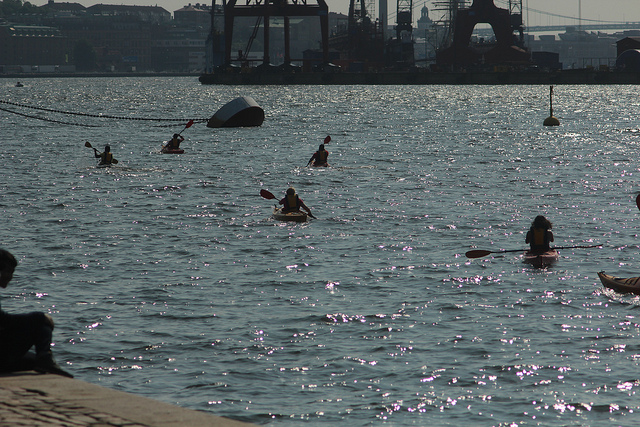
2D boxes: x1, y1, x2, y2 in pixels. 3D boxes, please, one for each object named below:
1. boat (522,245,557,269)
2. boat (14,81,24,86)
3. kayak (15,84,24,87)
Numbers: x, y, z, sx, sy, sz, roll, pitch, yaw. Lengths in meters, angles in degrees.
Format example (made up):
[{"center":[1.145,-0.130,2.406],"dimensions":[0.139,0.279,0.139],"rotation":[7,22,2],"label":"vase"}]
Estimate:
[{"center":[27.753,5.252,231.701],"dimensions":[2.708,1.327,4.722],"rotation":[3,12,10],"label":"boat"},{"center":[-60.332,-26.096,370.394],"dimensions":[1.241,0.945,8.462],"rotation":[2,2,-9],"label":"boat"},{"center":[-60.138,-25.650,369.244],"dimensions":[1.451,0.669,6.168],"rotation":[2,2,-9],"label":"kayak"}]
